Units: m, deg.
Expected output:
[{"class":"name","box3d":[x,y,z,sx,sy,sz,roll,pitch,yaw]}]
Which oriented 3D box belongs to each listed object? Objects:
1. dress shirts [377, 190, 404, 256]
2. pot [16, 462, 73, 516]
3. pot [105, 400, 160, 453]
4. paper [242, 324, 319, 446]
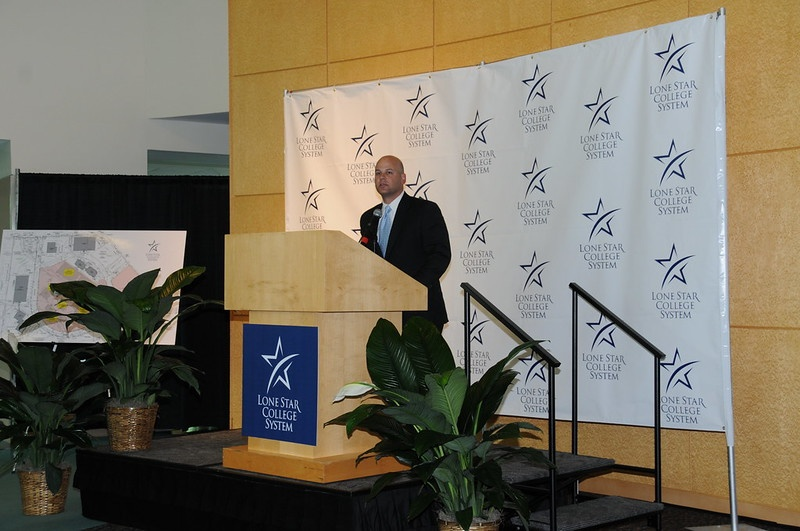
[{"class":"dress shirts","box3d":[-0.087,-0.259,7.537,0.082,0.399,0.109,10,-1,-39]},{"class":"pot","box3d":[-2.666,1.666,7.071,0.334,0.304,0.351,0,-4,0]},{"class":"pot","box3d":[-2.036,1.211,7.073,0.305,0.282,0.311,2,-10,0]},{"class":"paper","box3d":[-0.756,0.773,6.099,0.681,1.001,0.014,-2,-4,36]}]
